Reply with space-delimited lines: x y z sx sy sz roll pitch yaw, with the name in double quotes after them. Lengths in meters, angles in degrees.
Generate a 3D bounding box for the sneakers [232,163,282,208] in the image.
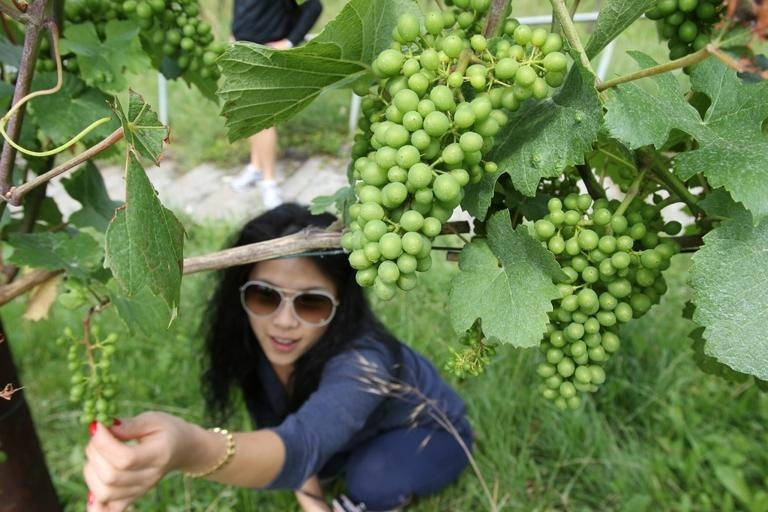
-0.963 -0.531 5.388 0.498 0.229 0.172 36 81 20 "sneakers"
